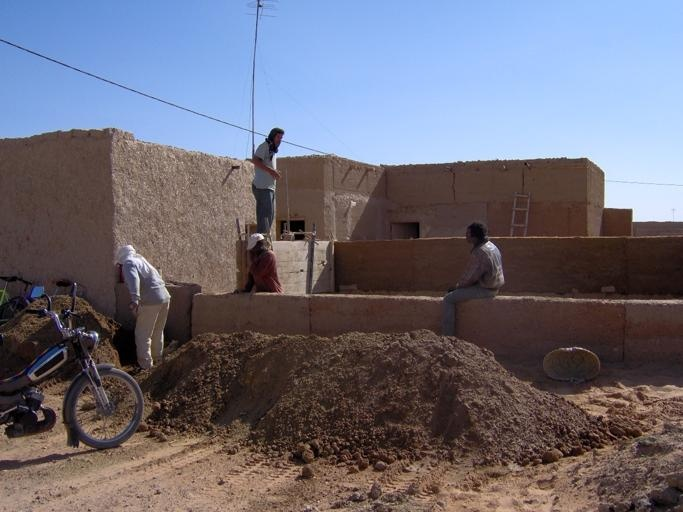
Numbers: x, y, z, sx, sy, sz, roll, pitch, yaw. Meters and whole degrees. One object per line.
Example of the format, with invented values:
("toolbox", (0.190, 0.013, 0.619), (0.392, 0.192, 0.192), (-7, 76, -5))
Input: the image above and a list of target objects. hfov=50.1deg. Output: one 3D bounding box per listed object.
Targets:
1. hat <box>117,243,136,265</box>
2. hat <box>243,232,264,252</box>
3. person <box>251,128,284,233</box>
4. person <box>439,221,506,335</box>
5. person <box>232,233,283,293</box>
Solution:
("hat", (-2.486, -0.021, 8.501), (0.154, 0.222, 0.209), (-8, -17, 23))
("hat", (-1.131, -0.190, 9.741), (0.228, 0.241, 0.300), (2, 1, -7))
("person", (-1.039, -0.996, 10.123), (0.397, 1.447, 1.309), (1, 1, -7))
("person", (1.579, 0.265, 8.769), (0.736, 1.375, 0.572), (2, 1, 4))
("person", (-1.122, 0.094, 9.941), (0.584, 0.800, 0.674), (2, 1, -9))
